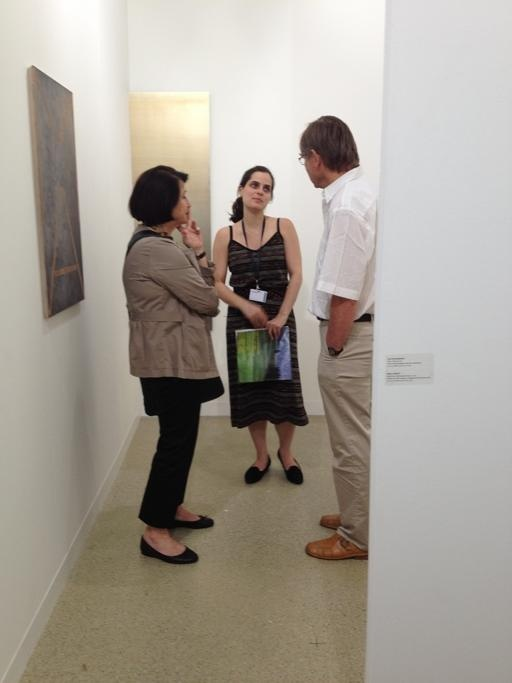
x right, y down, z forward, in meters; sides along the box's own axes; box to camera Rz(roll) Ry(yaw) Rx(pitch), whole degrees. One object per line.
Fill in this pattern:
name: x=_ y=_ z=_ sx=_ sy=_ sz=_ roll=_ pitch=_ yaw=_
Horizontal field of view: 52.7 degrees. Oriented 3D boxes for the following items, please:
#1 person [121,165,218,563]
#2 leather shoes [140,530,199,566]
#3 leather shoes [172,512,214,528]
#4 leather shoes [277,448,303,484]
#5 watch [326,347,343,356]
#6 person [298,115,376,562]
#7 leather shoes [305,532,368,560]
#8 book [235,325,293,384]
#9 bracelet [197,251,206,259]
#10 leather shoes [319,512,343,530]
person: x=-0.316 y=0.045 z=2.017 sx=0.376 sy=1.427 sz=0.268 roll=-2 pitch=6 yaw=-16
leather shoes: x=-0.352 y=0.849 z=2.109 sx=0.212 sy=0.095 sz=0.095 roll=2 pitch=-3 yaw=14
leather shoes: x=-0.287 y=0.803 z=2.337 sx=0.171 sy=0.051 sz=0.070 roll=-2 pitch=4 yaw=2
leather shoes: x=0.199 y=0.697 z=2.862 sx=0.065 sy=0.060 sz=0.212 roll=-7 pitch=26 yaw=-11
watch: x=0.287 y=0.045 z=1.899 sx=0.034 sy=0.039 sz=0.035 roll=0 pitch=16 yaw=0
person: x=0.298 y=0.035 z=1.915 sx=0.281 sy=1.720 sz=0.363 roll=1 pitch=6 yaw=4
leather shoes: x=0.318 y=0.838 z=2.082 sx=0.242 sy=0.116 sz=0.101 roll=4 pitch=5 yaw=1
book: x=0.048 y=0.082 z=2.645 sx=0.278 sy=0.290 sz=0.037 roll=-5 pitch=-24 yaw=9
bracelet: x=-0.222 y=-0.344 z=2.102 sx=0.029 sy=0.019 sz=0.028 roll=-37 pitch=25 yaw=-25
leather shoes: x=0.335 y=0.813 z=2.323 sx=0.110 sy=0.051 sz=0.054 roll=15 pitch=18 yaw=37
